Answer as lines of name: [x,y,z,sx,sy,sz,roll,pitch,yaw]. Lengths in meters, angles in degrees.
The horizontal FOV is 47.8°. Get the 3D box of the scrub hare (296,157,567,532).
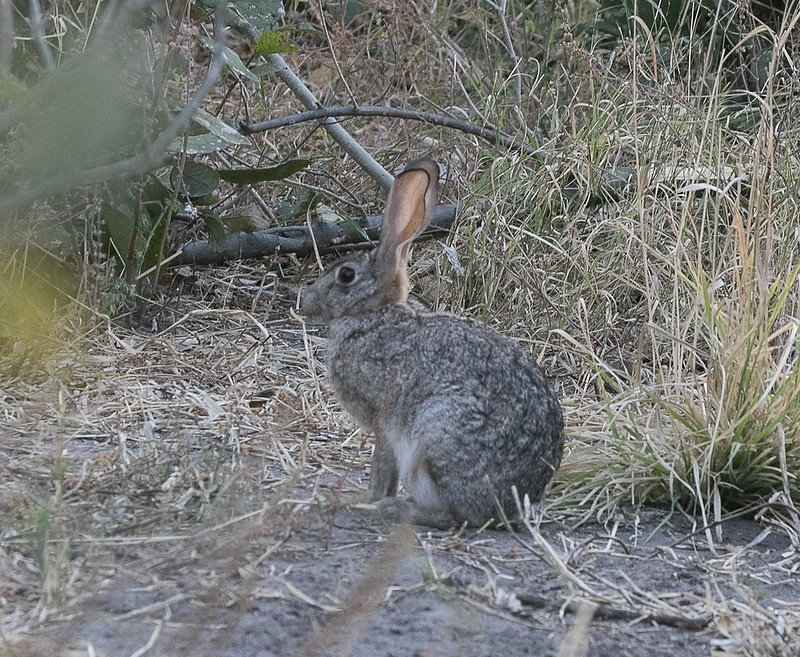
scrub hare: [0.128,0.105,3.237,0.718,0.791,1.085,-20,50,-14]
